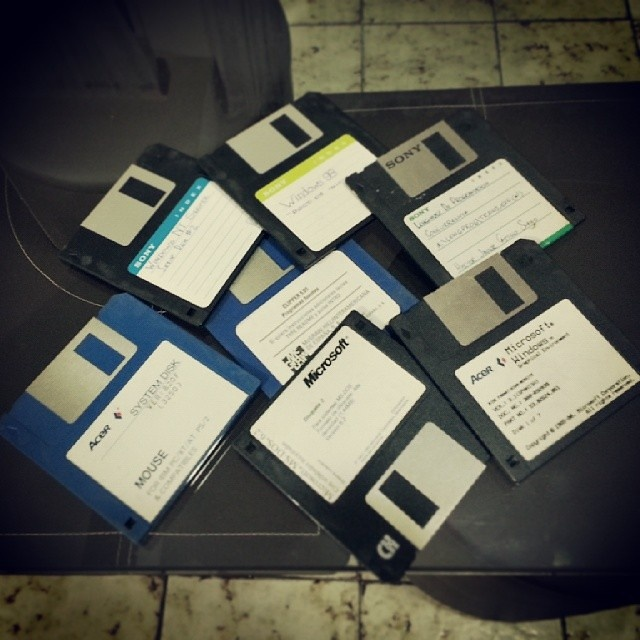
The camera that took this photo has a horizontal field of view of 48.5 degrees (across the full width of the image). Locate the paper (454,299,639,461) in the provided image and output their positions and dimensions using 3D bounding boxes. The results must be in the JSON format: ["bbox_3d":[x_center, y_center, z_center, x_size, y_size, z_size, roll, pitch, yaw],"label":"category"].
[{"bbox_3d":[0.378,0.096,1.187,0.238,0.065,0.185,-32,71,-17],"label":"paper"}]

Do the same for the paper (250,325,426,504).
[{"bbox_3d":[0.030,0.152,1.190,0.184,0.067,0.261,37,68,13],"label":"paper"}]

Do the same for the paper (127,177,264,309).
[{"bbox_3d":[-0.217,-0.145,1.313,0.172,0.033,0.236,29,66,9],"label":"paper"}]

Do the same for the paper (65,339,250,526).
[{"bbox_3d":[-0.277,0.185,1.204,0.190,0.062,0.258,35,67,12],"label":"paper"}]

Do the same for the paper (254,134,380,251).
[{"bbox_3d":[0.021,-0.241,1.328,0.231,0.024,0.172,-37,72,-19],"label":"paper"}]

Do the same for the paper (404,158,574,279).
[{"bbox_3d":[0.298,-0.177,1.278,0.232,0.047,0.174,-30,70,-16],"label":"paper"}]
